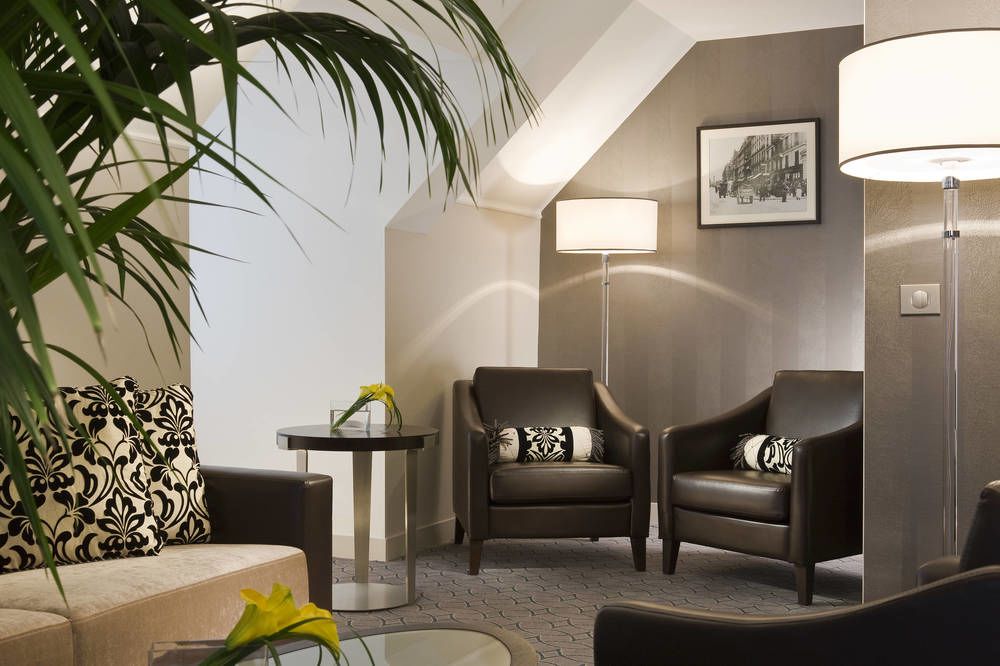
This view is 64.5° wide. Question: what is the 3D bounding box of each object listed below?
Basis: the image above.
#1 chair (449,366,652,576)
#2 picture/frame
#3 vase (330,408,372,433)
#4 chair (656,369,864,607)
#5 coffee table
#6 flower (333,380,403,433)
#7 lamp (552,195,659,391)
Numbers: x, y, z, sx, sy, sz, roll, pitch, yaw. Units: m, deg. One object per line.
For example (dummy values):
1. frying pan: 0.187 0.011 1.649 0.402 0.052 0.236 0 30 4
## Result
1. chair: 0.244 0.714 4.326 1.015 1.032 0.796 1 1 -4
2. picture/frame: 1.644 -0.998 4.894 0.733 0.633 0.029 -1 -2 25
3. vase: -0.672 0.386 3.550 0.170 0.118 0.095 1 2 4
4. chair: 1.433 0.732 4.026 0.995 1.009 0.976 1 -3 -26
5. coffee table: -0.616 0.812 3.560 0.664 0.742 0.677 -3 -7 4
6. flower: -0.562 0.366 3.570 0.148 0.191 0.189 21 -9 -39
7. lamp: 0.682 -0.245 4.937 0.575 1.124 0.551 1 1 25
